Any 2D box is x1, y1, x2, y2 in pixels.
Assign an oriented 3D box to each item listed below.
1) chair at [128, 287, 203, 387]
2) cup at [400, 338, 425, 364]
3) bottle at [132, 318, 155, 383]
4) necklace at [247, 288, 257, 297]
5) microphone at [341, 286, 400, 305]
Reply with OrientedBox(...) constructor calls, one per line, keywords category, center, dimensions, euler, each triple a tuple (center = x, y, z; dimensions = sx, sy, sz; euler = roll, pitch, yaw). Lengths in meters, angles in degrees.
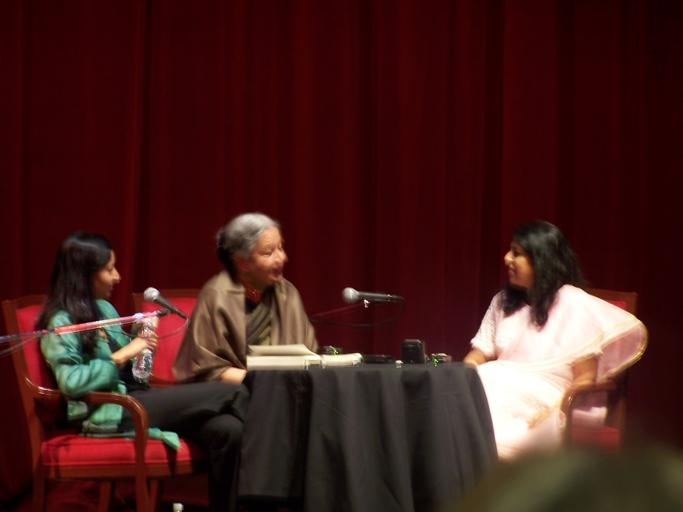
OrientedBox(category="chair", center=(-0.473, 0.229, 1.514), dimensions=(0.160, 0.308, 0.189), euler=(7, -17, -19))
OrientedBox(category="cup", center=(0.237, 0.313, 1.845), dimensions=(0.064, 0.075, 0.071), euler=(-2, -2, 6))
OrientedBox(category="bottle", center=(-0.510, 0.234, 1.434), dimensions=(0.037, 0.153, 0.042), euler=(10, -6, 8))
OrientedBox(category="necklace", center=(-0.290, 0.120, 1.813), dimensions=(0.021, 0.019, 0.024), euler=(0, 0, -2))
OrientedBox(category="microphone", center=(0.106, 0.130, 1.815), dimensions=(0.163, 0.058, 0.276), euler=(0, 0, 8))
